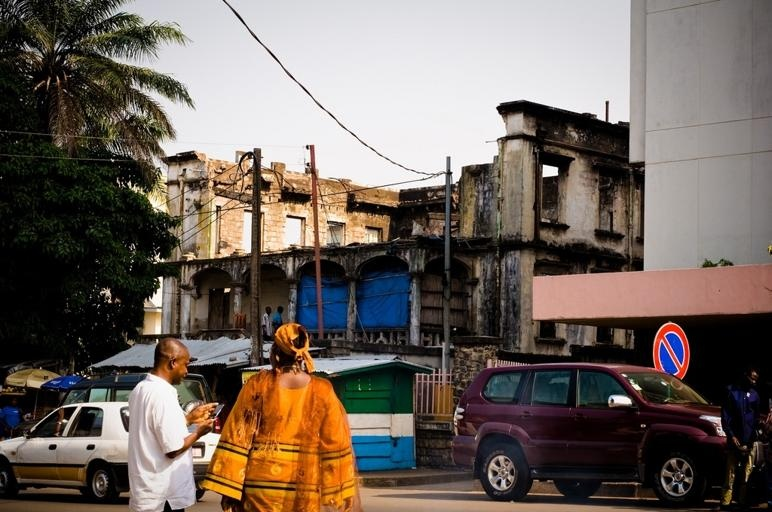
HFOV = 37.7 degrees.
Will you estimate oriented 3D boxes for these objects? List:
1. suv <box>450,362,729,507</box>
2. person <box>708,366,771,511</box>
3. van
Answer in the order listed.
[{"bbox_3d":[4.725,4.045,25.133,5.056,2.345,2.877,-8,-11,30],"label":"suv"},{"bbox_3d":[7.351,3.829,23.393,0.978,2.883,0.543,3,-4,-38],"label":"person"},{"bbox_3d":[-6.115,3.206,27.116,3.288,1.744,1.988,-1,-2,33],"label":"van"}]
